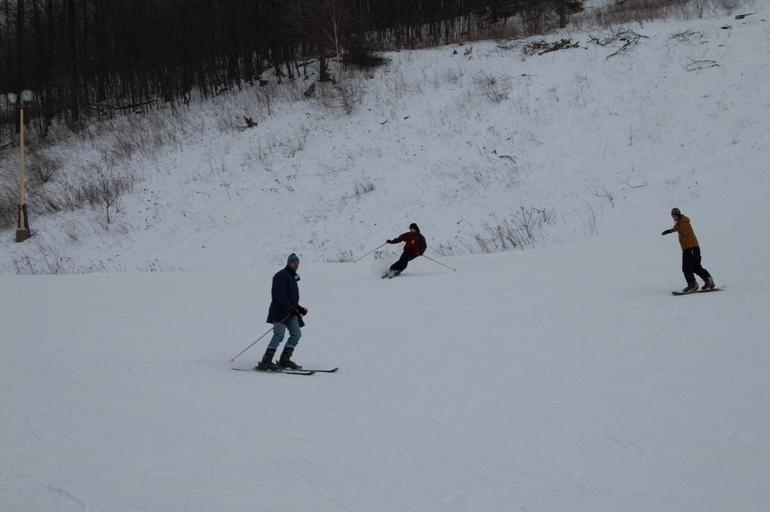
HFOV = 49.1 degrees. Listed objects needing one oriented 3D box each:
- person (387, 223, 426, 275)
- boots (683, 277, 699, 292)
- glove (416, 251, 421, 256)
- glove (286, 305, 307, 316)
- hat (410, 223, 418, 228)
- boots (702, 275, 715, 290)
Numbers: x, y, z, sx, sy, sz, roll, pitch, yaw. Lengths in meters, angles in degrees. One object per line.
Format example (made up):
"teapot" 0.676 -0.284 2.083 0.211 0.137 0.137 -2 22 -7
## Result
"person" 0.749 -0.050 31.619 1.392 0.867 2.477 14 49 15
"boots" 10.151 1.032 27.917 0.251 0.363 0.739 -16 14 -36
"glove" 1.240 -0.065 31.529 0.120 0.141 0.030 -10 -12 -11
"glove" -2.671 1.732 25.817 0.410 0.204 0.305 -7 -18 35
"hat" 1.076 -1.092 31.699 0.258 0.204 0.515 -6 9 3
"boots" 10.713 0.957 27.859 0.208 0.488 0.630 -4 8 2
